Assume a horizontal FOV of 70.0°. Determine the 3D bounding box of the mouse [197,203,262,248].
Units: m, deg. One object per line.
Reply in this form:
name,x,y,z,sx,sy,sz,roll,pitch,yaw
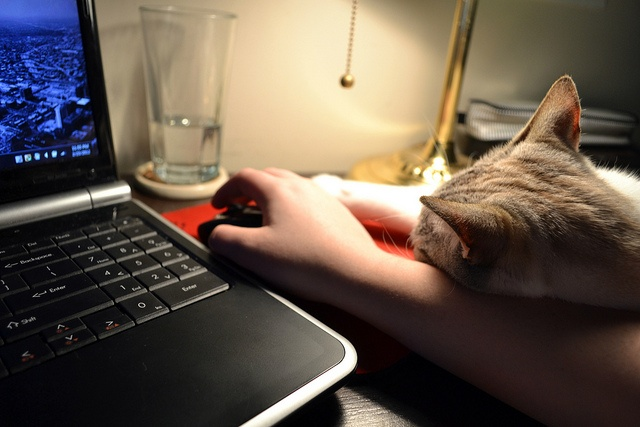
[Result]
mouse,-0.105,0.008,0.557,0.100,0.041,0.020,-7,19,-38
